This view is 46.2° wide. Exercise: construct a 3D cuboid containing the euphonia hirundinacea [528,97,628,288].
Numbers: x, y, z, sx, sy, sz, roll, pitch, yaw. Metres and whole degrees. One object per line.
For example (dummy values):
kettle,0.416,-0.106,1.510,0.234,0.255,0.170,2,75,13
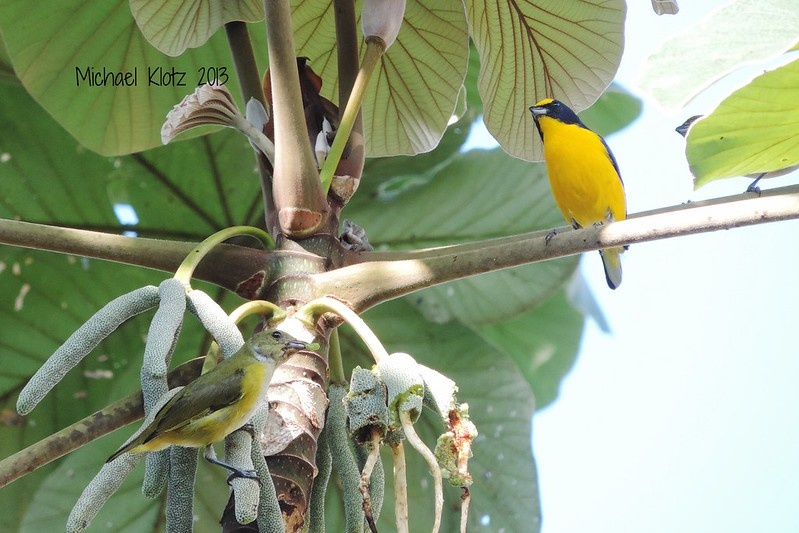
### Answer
euphonia hirundinacea,1.013,-0.430,5.159,0.401,0.557,1.277,-21,-36,20
